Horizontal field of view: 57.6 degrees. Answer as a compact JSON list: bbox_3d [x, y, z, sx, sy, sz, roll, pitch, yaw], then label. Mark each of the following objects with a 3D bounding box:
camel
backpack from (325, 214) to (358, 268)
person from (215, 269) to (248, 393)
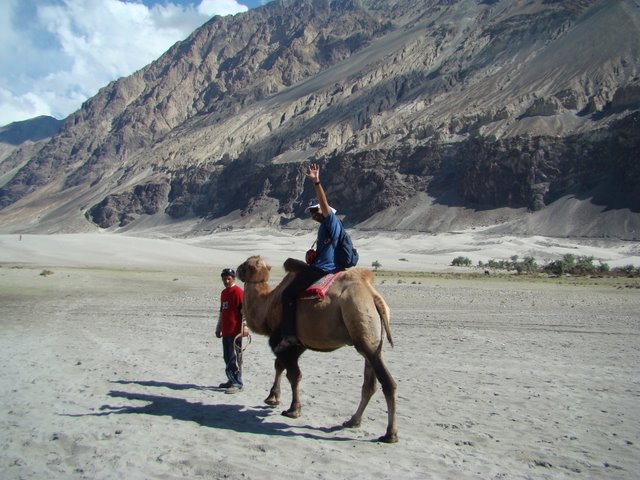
[{"bbox_3d":[-0.070,1.769,10.108,4.234,2.514,1.167,3,-6,43],"label":"camel"},{"bbox_3d":[0.346,-0.007,10.014,0.515,0.881,0.481,-1,10,-36],"label":"backpack"},{"bbox_3d":[-1.745,1.784,11.511,0.677,1.983,1.141,0,0,39],"label":"person"}]
